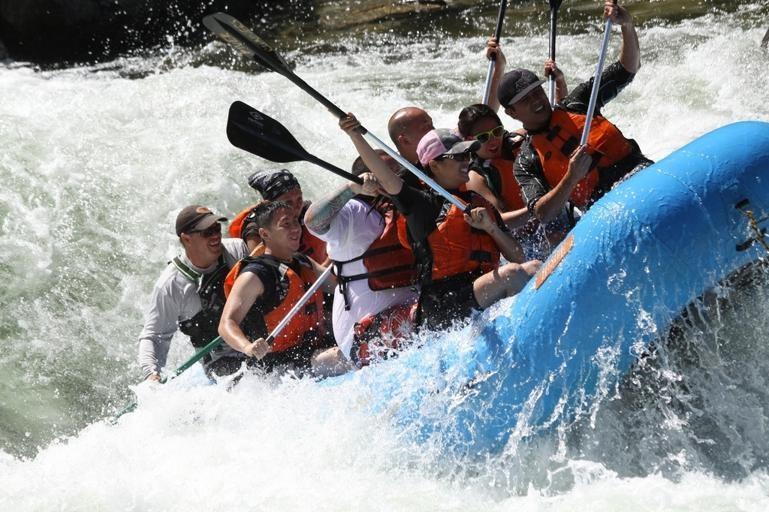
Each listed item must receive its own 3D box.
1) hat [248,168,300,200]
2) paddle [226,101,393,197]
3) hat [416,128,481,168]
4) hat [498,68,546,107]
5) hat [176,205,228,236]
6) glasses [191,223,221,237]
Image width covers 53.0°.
[{"bbox_3d":[-0.903,-0.556,6.267,0.322,0.183,0.244,4,38,14],"label":"hat"},{"bbox_3d":[-0.438,-0.608,4.849,0.123,0.546,2.377,-63,28,7],"label":"paddle"},{"bbox_3d":[0.407,-0.718,5.046,0.328,0.222,0.182,-23,97,16],"label":"hat"},{"bbox_3d":[0.993,-1.221,5.614,0.324,0.262,0.193,2,52,9],"label":"hat"},{"bbox_3d":[-1.416,-0.269,5.922,0.309,0.216,0.169,-16,93,12],"label":"hat"},{"bbox_3d":[-1.354,-0.173,5.866,0.134,0.137,0.044,-17,88,31],"label":"glasses"}]
